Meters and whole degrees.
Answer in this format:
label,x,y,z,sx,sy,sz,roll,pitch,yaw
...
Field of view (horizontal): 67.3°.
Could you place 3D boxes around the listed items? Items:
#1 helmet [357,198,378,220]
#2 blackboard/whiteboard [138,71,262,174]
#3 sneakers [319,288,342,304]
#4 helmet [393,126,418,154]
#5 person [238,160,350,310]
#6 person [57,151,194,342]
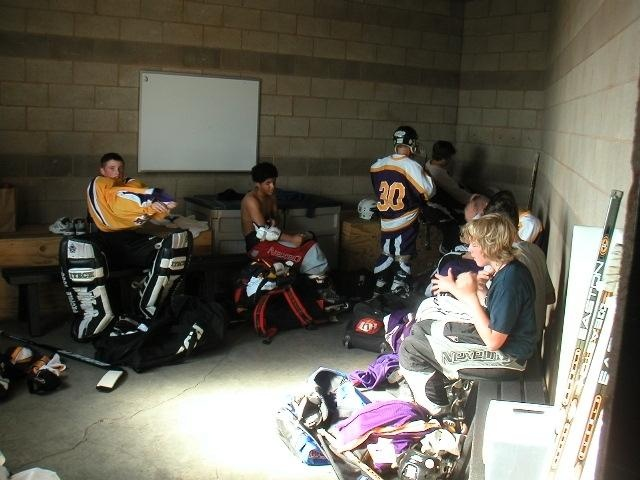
label,x,y,z,sx,sy,sz,roll,pitch,yaw
helmet,0.621,-0.396,6.272,0.291,0.235,0.222,10,29,7
blackboard/whiteboard,-1.536,-1.465,5.892,1.565,1.065,0.067,-3,9,-26
sneakers,0.101,0.591,5.007,0.145,0.069,0.196,4,15,2
helmet,0.892,-1.077,5.150,0.246,0.272,0.297,8,16,32
person,-0.276,0.095,4.987,0.740,1.251,0.850,-10,19,-41
person,-1.834,0.076,4.428,0.850,1.671,0.875,11,17,31
